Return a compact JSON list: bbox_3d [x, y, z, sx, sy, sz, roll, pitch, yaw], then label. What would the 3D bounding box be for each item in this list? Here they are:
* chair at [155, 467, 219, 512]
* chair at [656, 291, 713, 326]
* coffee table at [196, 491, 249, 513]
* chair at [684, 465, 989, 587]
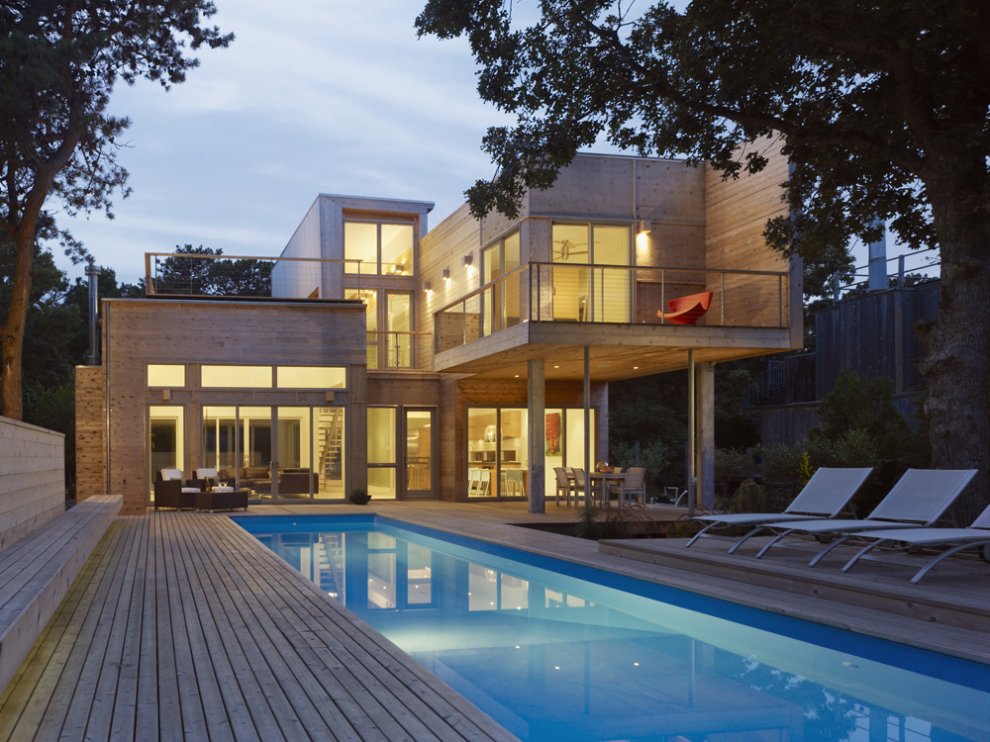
[{"bbox_3d":[-6.332,2.492,20.623,0.992,0.969,1.059,-7,-10,43],"label":"chair"},{"bbox_3d":[3.619,-1.160,18.463,0.708,0.568,0.815,7,-10,-29],"label":"chair"},{"bbox_3d":[-5.504,2.603,20.032,0.971,0.370,0.458,2,-6,-25],"label":"coffee table"},{"bbox_3d":[4.138,1.647,11.154,1.951,1.138,3.515,1,-6,-14],"label":"chair"}]
